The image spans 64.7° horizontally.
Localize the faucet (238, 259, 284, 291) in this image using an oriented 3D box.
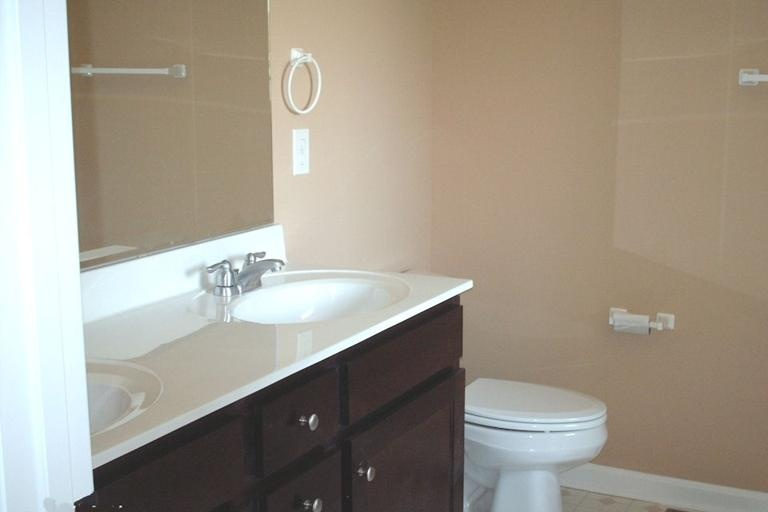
[{"bbox_3d":[-0.304,0.047,1.539,0.049,0.052,0.153,5,10,26],"label":"faucet"}]
